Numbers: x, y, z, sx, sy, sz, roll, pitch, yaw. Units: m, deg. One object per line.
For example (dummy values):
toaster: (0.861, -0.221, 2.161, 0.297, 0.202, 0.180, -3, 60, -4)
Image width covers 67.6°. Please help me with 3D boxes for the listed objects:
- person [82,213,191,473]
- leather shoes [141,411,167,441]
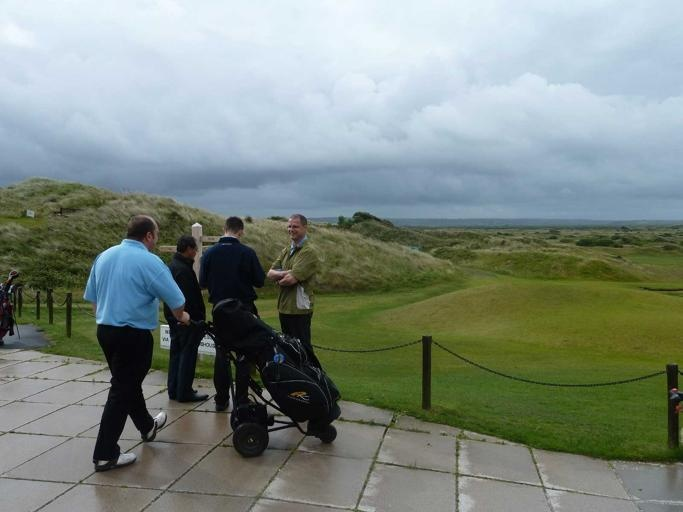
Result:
person: (-2.551, 1.018, 6.304, 1.034, 3.053, 0.882, 1, 4, -32)
leather shoes: (-2.493, 2.273, 6.867, 0.132, 0.162, 0.381, 7, 25, 10)
